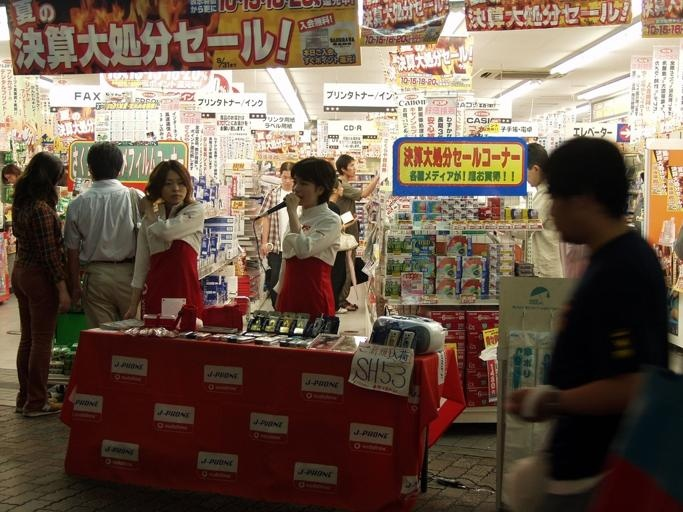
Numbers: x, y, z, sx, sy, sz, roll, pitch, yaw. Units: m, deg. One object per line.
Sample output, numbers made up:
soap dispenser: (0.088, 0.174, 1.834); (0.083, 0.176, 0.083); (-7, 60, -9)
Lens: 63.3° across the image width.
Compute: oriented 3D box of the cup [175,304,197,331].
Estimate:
cup: (-0.926, 0.366, 3.277); (0.122, 0.141, 0.141); (0, 5, -18)

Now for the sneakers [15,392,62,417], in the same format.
sneakers: (-2.403, 1.210, 4.448); (0.156, 0.155, 0.372); (2, 4, 35)

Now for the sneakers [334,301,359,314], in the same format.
sneakers: (0.077, 0.762, 8.484); (0.447, 0.186, 0.166); (-3, 7, 5)

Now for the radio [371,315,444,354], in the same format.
radio: (0.354, 0.409, 2.995); (0.302, 0.136, 0.319); (-4, -25, 16)

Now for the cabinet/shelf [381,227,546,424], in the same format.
cabinet/shelf: (0.652, 0.406, 4.858); (1.655, 1.928, 1.322); (0, -1, -5)

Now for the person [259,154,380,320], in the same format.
person: (-0.217, -0.131, 3.655); (0.422, 1.058, 0.460); (1, 4, -6)
